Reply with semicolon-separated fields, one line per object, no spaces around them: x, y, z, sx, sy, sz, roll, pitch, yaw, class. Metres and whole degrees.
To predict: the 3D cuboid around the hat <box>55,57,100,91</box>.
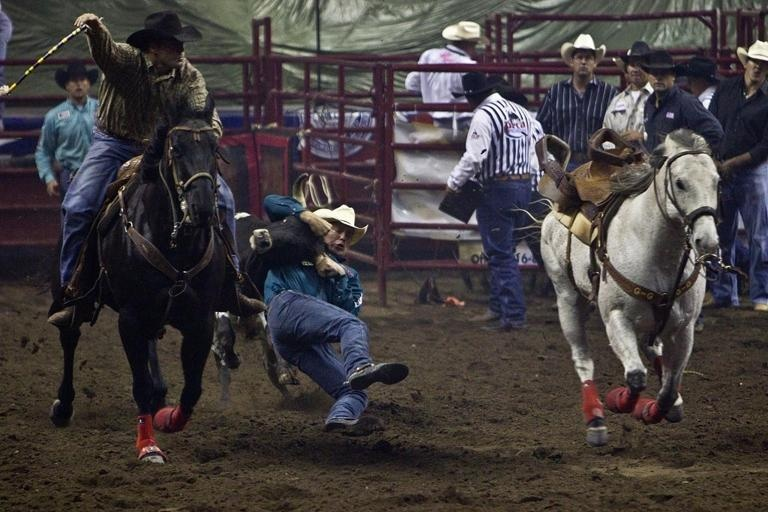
-4.032;-2.348;15.238;0.595;0.199;0.580;-1;-1;-8;hat

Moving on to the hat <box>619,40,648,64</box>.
2.998;-2.381;13.819;0.387;0.140;0.413;2;1;15;hat

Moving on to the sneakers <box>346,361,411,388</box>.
-0.065;1.064;10.585;0.629;0.202;0.235;-8;26;-8;sneakers

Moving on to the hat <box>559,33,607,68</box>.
2.514;-2.588;14.622;0.671;0.264;0.739;1;-18;5;hat

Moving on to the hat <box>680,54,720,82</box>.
3.791;-2.250;14.100;0.398;0.131;0.343;14;11;36;hat

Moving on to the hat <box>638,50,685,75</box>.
3.146;-2.162;13.244;0.385;0.139;0.413;4;7;15;hat

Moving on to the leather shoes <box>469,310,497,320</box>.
1.166;0.711;13.980;0.376;0.127;0.115;2;3;10;leather shoes

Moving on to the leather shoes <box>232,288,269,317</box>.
-1.298;0.470;11.232;0.345;0.170;0.176;7;-2;-32;leather shoes

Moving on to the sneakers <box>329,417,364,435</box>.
-0.360;1.556;10.701;0.414;0.117;0.164;4;11;0;sneakers

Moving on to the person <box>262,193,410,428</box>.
-0.501;0.526;11.084;1.130;2.046;1.578;0;9;-16;person

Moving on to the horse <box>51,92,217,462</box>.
-1.994;0.223;10.419;1.248;3.136;0.835;4;9;11;horse

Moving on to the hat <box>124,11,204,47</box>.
-1.998;-2.026;10.579;0.538;0.173;0.411;-7;7;-9;hat

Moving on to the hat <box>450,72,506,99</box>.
1.134;-2.047;13.605;0.488;0.145;0.399;-17;12;-21;hat

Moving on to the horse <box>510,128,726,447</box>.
2.207;0.276;10.463;0.861;2.829;1.912;-3;10;-28;horse
